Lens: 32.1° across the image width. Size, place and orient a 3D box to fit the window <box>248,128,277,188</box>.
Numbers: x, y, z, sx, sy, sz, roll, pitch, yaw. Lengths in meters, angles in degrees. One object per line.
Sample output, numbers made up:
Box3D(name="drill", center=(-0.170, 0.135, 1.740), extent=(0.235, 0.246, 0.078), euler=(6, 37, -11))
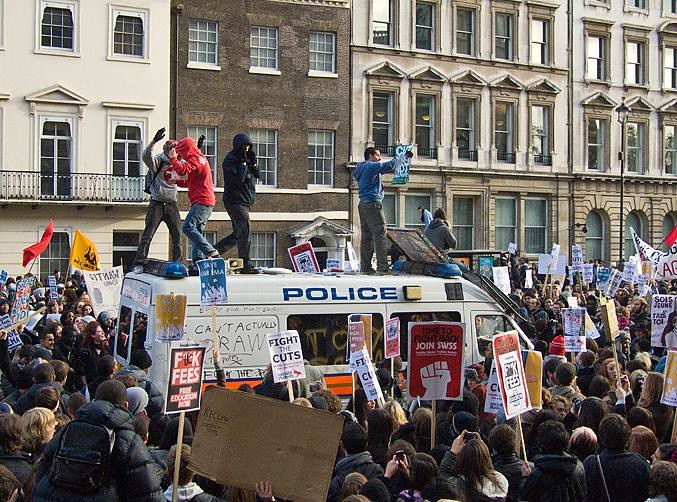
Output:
Box3D(name="window", center=(-2.731, -3.345, 42.039), extent=(1.050, 2.179, 0.155), euler=(2, -9, -15))

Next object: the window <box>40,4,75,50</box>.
Box3D(name="window", center=(-9.488, -7.549, 39.448), extent=(1.407, 2.012, 0.193), euler=(1, -6, -20))

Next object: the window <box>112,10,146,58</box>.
Box3D(name="window", center=(-7.212, -7.496, 40.206), extent=(1.447, 2.172, 0.314), euler=(1, -3, -23))

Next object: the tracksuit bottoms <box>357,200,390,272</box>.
Box3D(name="tracksuit bottoms", center=(0.747, -0.363, 26.046), extent=(0.441, 1.606, 0.687), euler=(-8, 4, -43))

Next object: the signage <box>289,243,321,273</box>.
Box3D(name="signage", center=(-0.756, 0.205, 25.894), extent=(0.590, 0.938, 0.097), euler=(-15, 42, 4))

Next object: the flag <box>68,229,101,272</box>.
Box3D(name="flag", center=(-6.899, 0.008, 31.917), extent=(1.070, 1.384, 0.153), euler=(11, -7, -26))

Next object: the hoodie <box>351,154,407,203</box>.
Box3D(name="hoodie", center=(0.980, -1.619, 26.141), extent=(1.163, 1.158, 0.844), euler=(2, 5, -3))

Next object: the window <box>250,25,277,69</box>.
Box3D(name="window", center=(-2.680, -7.273, 41.941), extent=(1.093, 1.524, 0.092), euler=(1, 2, -24))

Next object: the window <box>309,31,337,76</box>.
Box3D(name="window", center=(-0.597, -7.247, 42.893), extent=(1.465, 2.049, 0.130), euler=(-1, 0, -20))

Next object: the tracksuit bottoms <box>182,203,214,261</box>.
Box3D(name="tracksuit bottoms", center=(-2.890, -0.439, 24.970), extent=(0.602, 1.453, 0.625), euler=(-2, -9, 17))

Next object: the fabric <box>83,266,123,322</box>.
Box3D(name="fabric", center=(-5.291, 1.028, 26.482), extent=(0.907, 1.300, 0.116), euler=(-7, 7, -20))

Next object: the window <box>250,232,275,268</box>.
Box3D(name="window", center=(-2.688, -0.051, 41.147), extent=(1.071, 1.433, 0.111), euler=(-2, 2, -27))

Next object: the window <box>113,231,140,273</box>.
Box3D(name="window", center=(-6.851, 0.013, 37.726), extent=(1.209, 1.597, 0.111), euler=(3, -5, -21))

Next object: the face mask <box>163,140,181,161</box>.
Box3D(name="face mask", center=(-3.473, -2.128, 24.792), extent=(0.300, 0.408, 0.374), euler=(0, -11, -29))

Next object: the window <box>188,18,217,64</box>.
Box3D(name="window", center=(-4.776, -7.396, 41.005), extent=(1.442, 2.129, 0.189), euler=(1, -2, -24))

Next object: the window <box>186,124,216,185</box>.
Box3D(name="window", center=(-4.872, -3.353, 41.399), extent=(1.042, 2.674, 0.225), euler=(0, 38, -6))
